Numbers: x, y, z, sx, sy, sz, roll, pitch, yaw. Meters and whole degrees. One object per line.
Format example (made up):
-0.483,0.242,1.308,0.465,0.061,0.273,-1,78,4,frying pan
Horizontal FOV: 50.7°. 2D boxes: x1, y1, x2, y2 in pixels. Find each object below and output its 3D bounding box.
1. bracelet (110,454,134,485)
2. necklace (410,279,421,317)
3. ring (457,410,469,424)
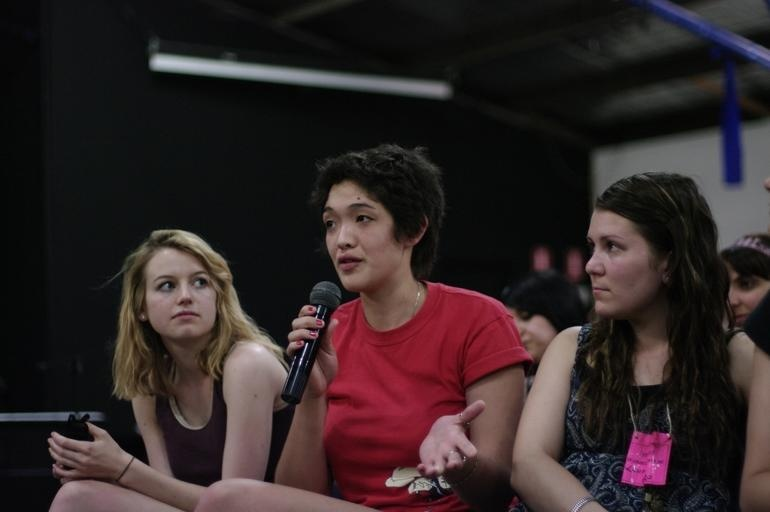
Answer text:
-1.087,0.908,3.422,0.027,0.099,0.102,37,-14,4,bracelet
0.137,0.167,3.241,0.023,0.102,0.078,17,-26,-15,necklace
0.282,0.588,2.956,0.036,0.048,0.044,1,-20,-16,ring
